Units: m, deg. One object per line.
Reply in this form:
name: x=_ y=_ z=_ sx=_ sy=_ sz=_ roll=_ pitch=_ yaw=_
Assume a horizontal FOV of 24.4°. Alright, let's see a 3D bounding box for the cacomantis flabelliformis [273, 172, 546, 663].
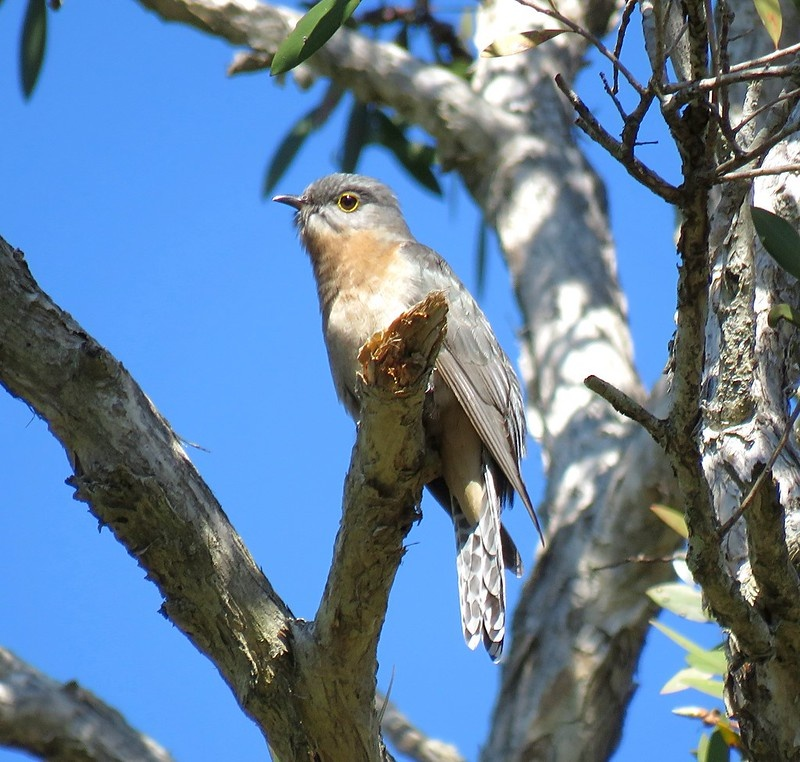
cacomantis flabelliformis: x=0.075 y=0.144 z=7.154 sx=1.153 sy=2.223 sz=0.606 roll=10 pitch=-30 yaw=-4
